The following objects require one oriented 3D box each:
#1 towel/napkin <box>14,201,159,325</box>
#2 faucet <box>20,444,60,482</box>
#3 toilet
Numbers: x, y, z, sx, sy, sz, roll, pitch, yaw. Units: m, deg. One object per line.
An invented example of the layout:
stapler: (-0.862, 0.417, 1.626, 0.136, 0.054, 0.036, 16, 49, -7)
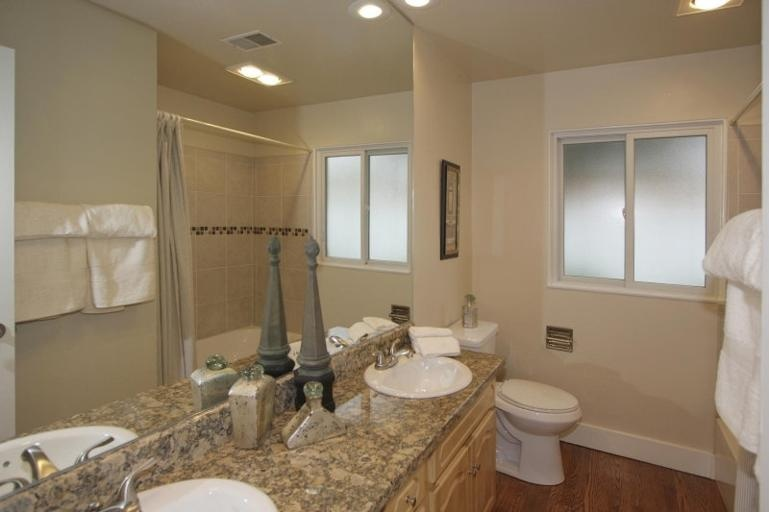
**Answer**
towel/napkin: (-1.027, 0.008, 1.778, 0.429, 0.394, 0.082, -3, 5, -28)
faucet: (-1.158, 0.683, 1.751, 0.118, 0.128, 0.067, -9, 3, 36)
toilet: (0.933, 1.044, 3.772, 1.069, 0.961, 0.663, 1, 7, 36)
